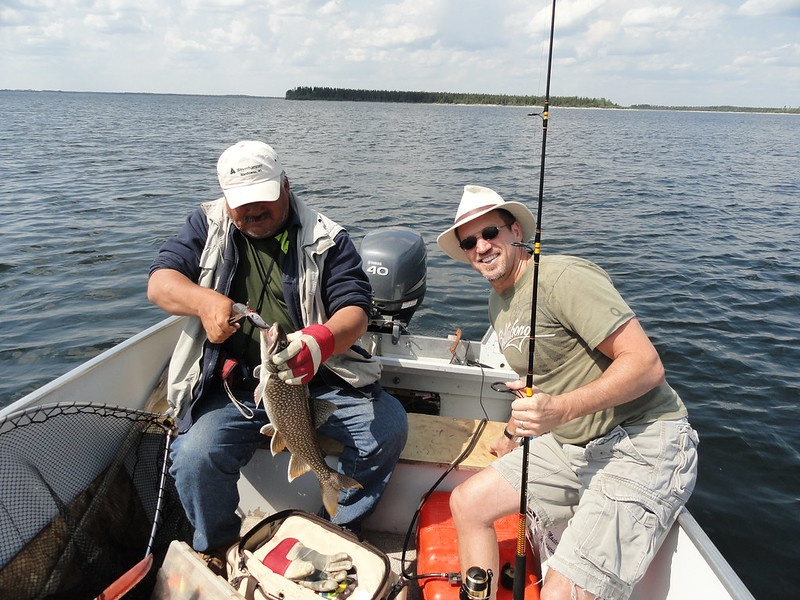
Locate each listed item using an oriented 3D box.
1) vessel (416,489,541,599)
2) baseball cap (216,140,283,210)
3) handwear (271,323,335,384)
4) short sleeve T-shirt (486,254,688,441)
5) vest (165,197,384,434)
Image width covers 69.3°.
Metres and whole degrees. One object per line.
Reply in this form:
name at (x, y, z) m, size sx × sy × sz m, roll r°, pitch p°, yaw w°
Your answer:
vessel at (0.407, 1.487, 3.389) m, size 0.476 × 0.367 × 0.723 m, roll 2°, pitch 30°, yaw 1°
baseball cap at (-0.901, -0.747, 3.469) m, size 0.301 × 0.235 × 0.463 m, roll -9°, pitch 36°, yaw -4°
handwear at (-0.520, 0.294, 3.162) m, size 0.230 × 0.140 × 0.338 m, roll -1°, pitch 65°, yaw 19°
short sleeve T-shirt at (0.974, 0.266, 3.608) m, size 0.663 × 1.236 × 0.979 m, roll -39°, pitch 19°, yaw -34°
vest at (-0.841, -0.044, 3.219) m, size 1.206 × 1.515 × 0.436 m, roll -3°, pitch -12°, yaw -2°
